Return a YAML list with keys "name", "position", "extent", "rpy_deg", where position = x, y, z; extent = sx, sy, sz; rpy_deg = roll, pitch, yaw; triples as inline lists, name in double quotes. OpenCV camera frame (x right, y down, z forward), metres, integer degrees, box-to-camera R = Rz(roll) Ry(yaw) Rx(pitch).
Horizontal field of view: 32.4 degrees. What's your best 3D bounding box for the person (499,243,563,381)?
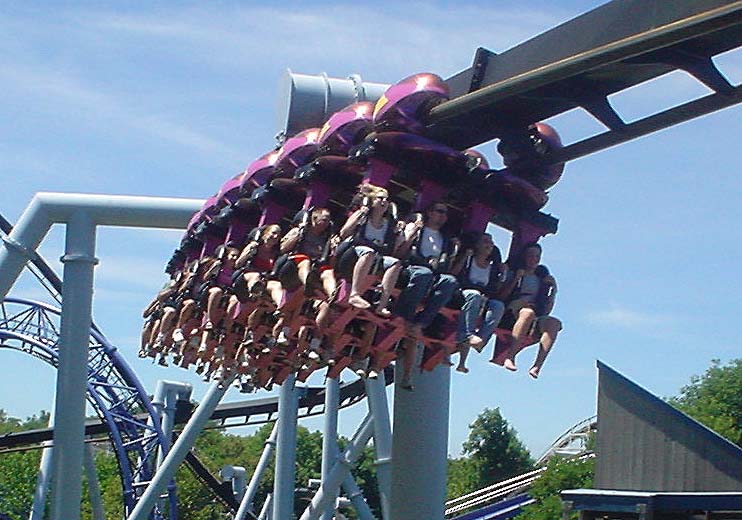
- name: "person"
  position: [3.166, 1.052, 25.271]
  extent: [0.843, 2.634, 0.854]
  rpy_deg: [-19, -28, 40]
